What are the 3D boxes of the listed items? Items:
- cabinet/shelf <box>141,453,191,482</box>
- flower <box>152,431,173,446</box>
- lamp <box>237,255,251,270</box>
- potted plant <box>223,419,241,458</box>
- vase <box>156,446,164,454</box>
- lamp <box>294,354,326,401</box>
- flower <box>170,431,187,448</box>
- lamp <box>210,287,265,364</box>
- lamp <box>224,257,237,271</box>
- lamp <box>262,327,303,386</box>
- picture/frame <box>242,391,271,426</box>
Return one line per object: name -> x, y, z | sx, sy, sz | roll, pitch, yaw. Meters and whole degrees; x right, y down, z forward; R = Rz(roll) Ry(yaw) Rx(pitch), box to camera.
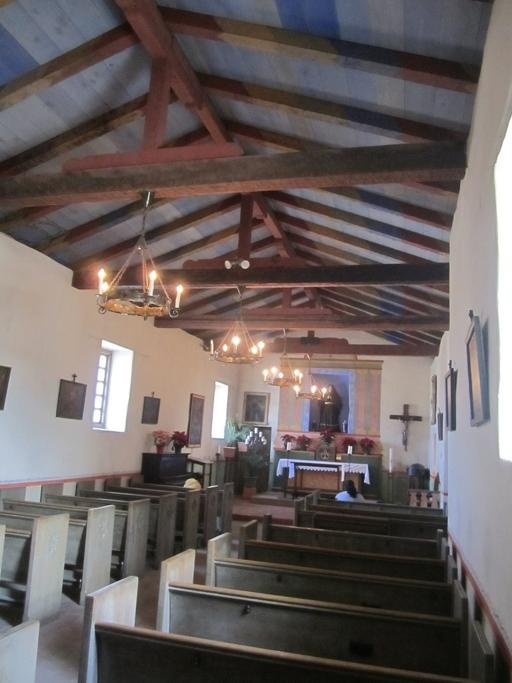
cabinet/shelf -> -1.598, 2.259, 8.971 | 0.385, 0.504, 0.946 | -3, -12, 28
flower -> -1.663, 1.759, 9.010 | 0.284, 0.279, 0.279 | 1, -17, 3
lamp -> -0.124, -0.914, 5.971 | 0.133, 0.129, 0.031 | 15, 12, 12
potted plant -> -0.632, 2.593, 13.479 | 0.453, 0.989, 1.300 | 3, -11, 0
vase -> -1.694, 1.950, 8.982 | 0.132, 0.147, 0.136 | 10, -12, -30
lamp -> 1.396, 0.908, 13.071 | 0.879, 1.219, 0.848 | 17, -21, -2
flower -> -1.409, 1.822, 9.249 | 0.277, 0.342, 0.326 | 3, -18, -9
lamp -> -0.197, -0.224, 5.822 | 0.655, 0.921, 0.652 | 6, -6, -30
lamp -> -0.312, -0.918, 6.038 | 0.139, 0.105, 0.195 | 3, -10, -3
lamp -> 0.468, 0.265, 7.873 | 0.618, 0.982, 0.646 | 7, 12, 20
picture/frame -> 0.037, 1.973, 14.423 | 0.970, 1.125, 0.080 | -1, -15, 6
